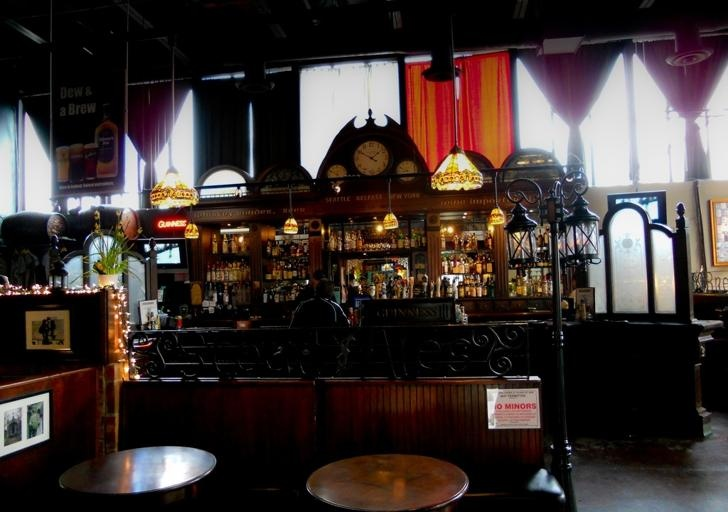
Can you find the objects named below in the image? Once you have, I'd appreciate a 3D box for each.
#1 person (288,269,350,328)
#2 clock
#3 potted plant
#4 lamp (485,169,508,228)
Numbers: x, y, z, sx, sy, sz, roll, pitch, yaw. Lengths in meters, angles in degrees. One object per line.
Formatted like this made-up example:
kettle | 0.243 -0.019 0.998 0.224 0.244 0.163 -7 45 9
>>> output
person | -0.629 0.707 9.723 0.738 1.103 0.576 4 16 8
clock | 0.141 -1.764 13.236 1.721 0.637 0.316 -1 -2 14
potted plant | -4.059 -0.006 11.574 1.036 0.792 1.061 3 4 41
lamp | 2.274 -0.983 12.496 0.276 0.921 1.398 -1 -1 10
